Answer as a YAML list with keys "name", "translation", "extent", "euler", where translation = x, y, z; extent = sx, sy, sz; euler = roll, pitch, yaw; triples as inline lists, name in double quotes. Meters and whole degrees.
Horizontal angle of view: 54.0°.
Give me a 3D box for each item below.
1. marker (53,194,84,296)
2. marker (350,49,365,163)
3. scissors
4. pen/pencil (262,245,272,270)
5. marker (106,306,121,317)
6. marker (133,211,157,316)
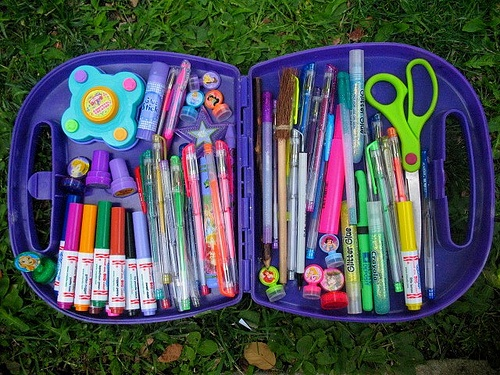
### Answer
- name: "marker"
  translation: [-0.835, 0.243, 2.267]
  extent: [0.076, 0.078, 0.549]
  euler: [7, 91, -42]
- name: "marker"
  translation: [0.491, -0.368, 2.243]
  extent: [0.075, 0.055, 0.508]
  euler: [0, 87, 2]
- name: "scissors"
  translation: [0.724, -0.124, 2.240]
  extent: [0.311, 0.068, 0.893]
  euler: [-5, 85, 4]
- name: "pen/pencil"
  translation: [0.083, 0.313, 2.184]
  extent: [0.027, 0.027, 0.100]
  euler: [0, 81, -4]
- name: "marker"
  translation: [-0.612, 0.556, 2.205]
  extent: [0.049, 0.052, 0.039]
  euler: [2, 94, 11]
- name: "marker"
  translation: [-0.477, 0.349, 2.228]
  extent: [0.073, 0.044, 0.473]
  euler: [-5, 87, 2]
